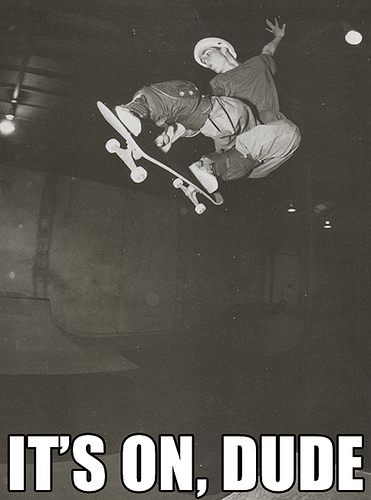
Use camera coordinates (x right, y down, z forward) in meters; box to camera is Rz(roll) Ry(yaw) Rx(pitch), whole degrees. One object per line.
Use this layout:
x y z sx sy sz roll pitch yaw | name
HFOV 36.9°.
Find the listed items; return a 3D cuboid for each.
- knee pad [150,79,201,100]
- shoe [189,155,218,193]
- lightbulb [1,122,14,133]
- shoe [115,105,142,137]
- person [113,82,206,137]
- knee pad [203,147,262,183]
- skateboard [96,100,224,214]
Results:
-0.036 -0.751 2.591 0.163 0.033 0.112 -8 69 -24 | knee pad
0.082 -0.357 2.615 0.162 0.054 0.095 49 32 -7 | shoe
-0.741 -0.513 2.311 0.049 0.022 0.044 -17 64 -14 | lightbulb
-0.256 -0.580 2.523 0.080 0.036 0.151 -43 111 -20 | shoe
-0.072 -0.669 2.672 0.719 0.229 0.205 -22 110 -42 | person
0.243 -0.409 2.675 0.219 0.105 0.142 -11 93 -11 | knee pad
-0.122 -0.345 2.603 0.829 0.146 0.240 33 44 -28 | skateboard
